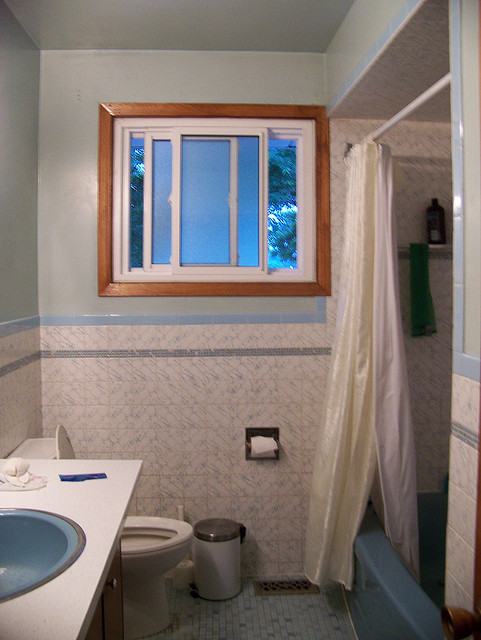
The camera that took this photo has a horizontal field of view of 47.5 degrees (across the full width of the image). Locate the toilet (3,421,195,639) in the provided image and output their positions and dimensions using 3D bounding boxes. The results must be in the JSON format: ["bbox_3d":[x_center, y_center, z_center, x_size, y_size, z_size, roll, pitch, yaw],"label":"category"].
[{"bbox_3d":[-0.631,0.896,2.455,0.980,1.093,0.521,0,4,-3],"label":"toilet"}]

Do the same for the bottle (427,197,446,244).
[{"bbox_3d":[0.947,-0.487,2.677,0.077,0.235,0.123,-1,3,25],"label":"bottle"}]

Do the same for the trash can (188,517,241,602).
[{"bbox_3d":[-0.088,1.048,2.444,0.237,0.301,0.265,0,1,2],"label":"trash can"}]
